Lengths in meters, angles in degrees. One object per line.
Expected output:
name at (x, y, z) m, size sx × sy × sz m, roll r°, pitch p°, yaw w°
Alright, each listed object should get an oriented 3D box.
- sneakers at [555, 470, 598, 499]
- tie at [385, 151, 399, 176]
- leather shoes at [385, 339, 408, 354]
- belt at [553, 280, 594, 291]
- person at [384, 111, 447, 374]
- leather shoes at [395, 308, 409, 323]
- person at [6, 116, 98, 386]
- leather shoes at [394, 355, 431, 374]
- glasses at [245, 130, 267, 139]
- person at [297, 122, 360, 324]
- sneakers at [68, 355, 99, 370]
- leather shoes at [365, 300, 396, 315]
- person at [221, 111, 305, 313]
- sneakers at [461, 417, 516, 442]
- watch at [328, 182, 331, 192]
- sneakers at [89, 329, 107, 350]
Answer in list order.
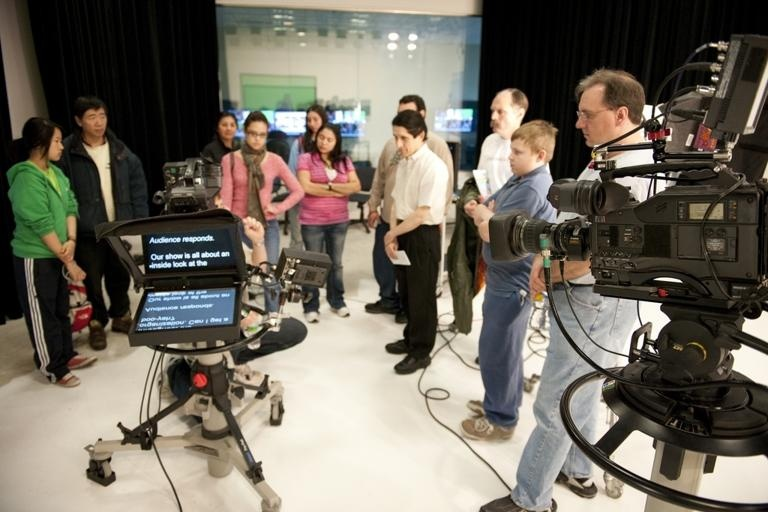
sneakers at (1.152, 1.360, 3.408) m, size 0.258 × 0.099 × 0.105 m, roll 5°, pitch 14°, yaw 41°
tie at (0.068, -0.838, 5.122) m, size 0.123 × 0.170 × 0.042 m, roll -2°, pitch 30°, yaw -44°
leather shoes at (0.108, 0.744, 4.690) m, size 0.183 × 0.097 × 0.176 m, roll 2°, pitch 18°, yaw 8°
belt at (0.969, 0.148, 2.886) m, size 0.121 × 0.042 × 0.085 m, roll 1°, pitch 8°, yaw 15°
person at (0.223, -0.100, 4.319) m, size 0.498 × 1.946 × 0.587 m, roll 1°, pitch 18°, yaw 7°
leather shoes at (0.158, 0.566, 5.218) m, size 0.174 × 0.123 × 0.058 m, roll 1°, pitch 12°, yaw 4°
person at (-2.480, -0.025, 4.191) m, size 0.468 × 1.902 × 0.690 m, roll -11°, pitch 20°, yaw -26°
leather shoes at (0.219, 0.842, 4.448) m, size 0.296 × 0.124 × 0.109 m, roll -3°, pitch 6°, yaw -33°
glasses at (-1.059, -1.014, 4.722) m, size 0.170 × 0.059 × 0.113 m, roll -5°, pitch 18°, yaw -10°
person at (-0.493, -0.319, 5.243) m, size 0.558 × 1.739 × 0.472 m, roll -5°, pitch 18°, yaw -11°
sneakers at (-2.336, 0.829, 4.452) m, size 0.217 × 0.090 × 0.078 m, roll -4°, pitch 8°, yaw -22°
leather shoes at (-0.036, 0.505, 5.452) m, size 0.309 × 0.129 × 0.127 m, roll 4°, pitch 3°, yaw 4°
person at (-1.051, -0.281, 4.893) m, size 0.675 × 1.707 × 0.616 m, roll 4°, pitch 26°, yaw -1°
sneakers at (0.658, 1.140, 3.718) m, size 0.357 × 0.152 × 0.144 m, roll 6°, pitch 12°, yaw 1°
watch at (-0.479, -0.608, 5.073) m, size 0.027 × 0.060 × 0.022 m, roll 0°, pitch 18°, yaw 4°
sneakers at (-2.362, 0.680, 4.715) m, size 0.090 × 0.096 × 0.266 m, roll -6°, pitch 22°, yaw -39°
